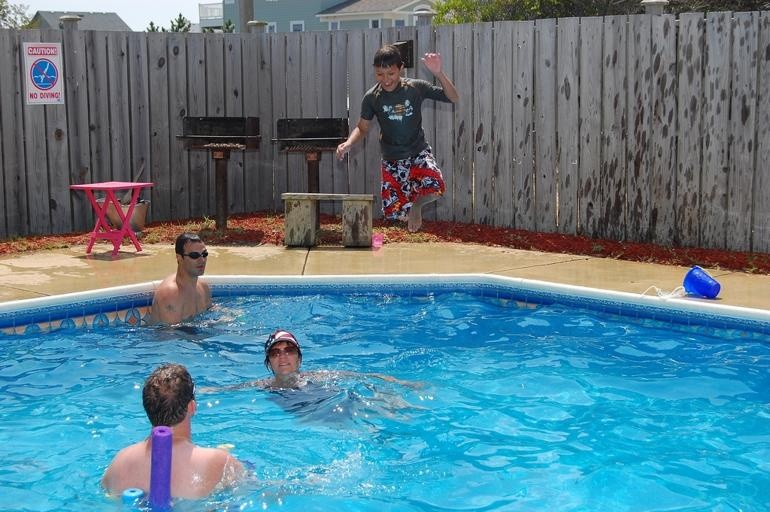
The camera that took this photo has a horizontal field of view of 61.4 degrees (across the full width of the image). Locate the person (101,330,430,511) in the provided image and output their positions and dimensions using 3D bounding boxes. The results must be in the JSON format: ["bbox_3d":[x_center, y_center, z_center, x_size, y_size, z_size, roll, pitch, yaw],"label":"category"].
[{"bbox_3d":[-0.993,1.015,3.994,0.893,0.559,1.287,4,17,32],"label":"person"}]

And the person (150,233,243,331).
[{"bbox_3d":[-2.018,0.152,6.764,0.877,1.144,0.859,9,13,21],"label":"person"}]

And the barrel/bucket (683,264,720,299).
[{"bbox_3d":[3.203,0.271,6.595,0.350,0.282,0.300,7,14,42],"label":"barrel/bucket"}]

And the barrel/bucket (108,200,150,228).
[{"bbox_3d":[-3.725,-0.597,9.412,0.463,0.336,0.422,-5,4,0],"label":"barrel/bucket"}]

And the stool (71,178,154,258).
[{"bbox_3d":[-3.954,-0.520,9.243,0.814,1.026,0.922,10,20,25],"label":"stool"}]
